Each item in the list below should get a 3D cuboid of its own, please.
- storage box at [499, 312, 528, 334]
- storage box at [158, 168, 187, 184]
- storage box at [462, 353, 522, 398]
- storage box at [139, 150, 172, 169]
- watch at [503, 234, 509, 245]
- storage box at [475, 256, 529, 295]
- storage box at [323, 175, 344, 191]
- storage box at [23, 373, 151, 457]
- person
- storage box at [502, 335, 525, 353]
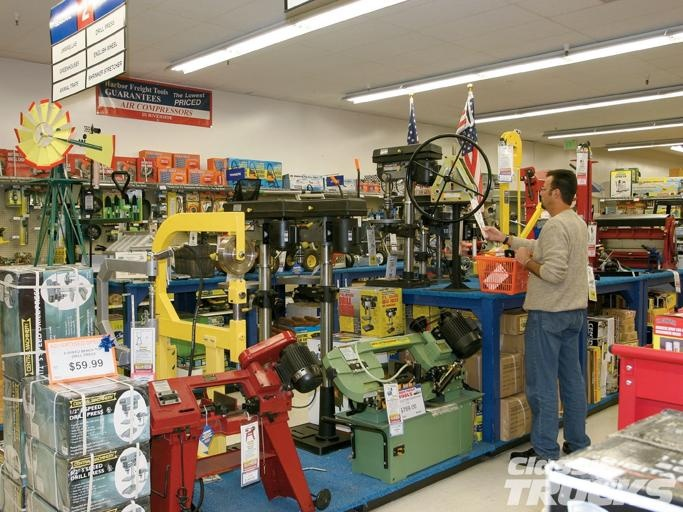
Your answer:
[{"bbox_3d":[1.477,0.554,4.887,0.183,0.122,0.189,4,7,42],"label":"storage box"},{"bbox_3d":[-2.388,-1.143,8.206,0.409,0.244,0.199,-4,5,-35],"label":"storage box"},{"bbox_3d":[1.239,0.941,4.696,0.602,0.387,0.315,-2,3,-40],"label":"storage box"},{"bbox_3d":[-2.702,-1.416,8.297,0.252,0.321,0.485,1,6,32],"label":"storage box"},{"bbox_3d":[1.335,-0.133,4.572,0.047,0.073,0.069,3,1,21],"label":"watch"},{"bbox_3d":[1.251,0.147,4.525,0.277,0.255,0.379,3,4,24],"label":"storage box"},{"bbox_3d":[-0.138,-1.262,9.875,0.223,0.284,0.421,2,5,40],"label":"storage box"},{"bbox_3d":[-1.278,0.775,2.872,0.409,0.260,0.393,-1,2,-44],"label":"storage box"},{"bbox_3d":[1.580,0.463,4.262,0.544,2.215,0.380,-4,4,-35],"label":"person"},{"bbox_3d":[1.466,0.738,4.831,0.209,0.145,0.118,2,1,45],"label":"storage box"}]
